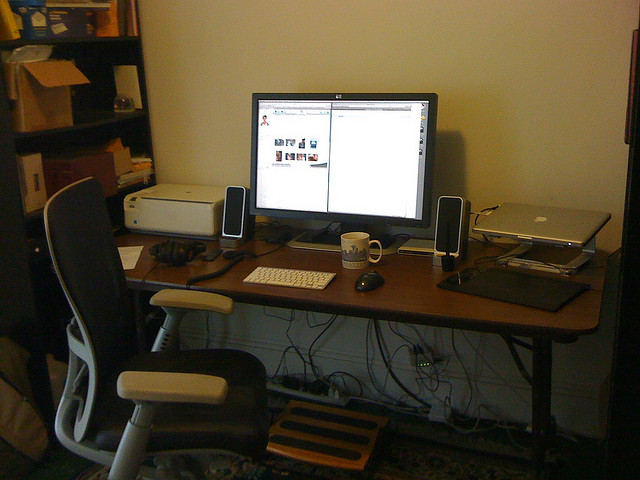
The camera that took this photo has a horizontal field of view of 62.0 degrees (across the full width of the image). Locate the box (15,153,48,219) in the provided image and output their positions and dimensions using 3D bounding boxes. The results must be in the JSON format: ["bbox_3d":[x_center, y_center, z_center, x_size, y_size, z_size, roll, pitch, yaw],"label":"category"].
[{"bbox_3d":[-1.168,-0.214,2.139,0.089,0.222,0.242,-17,16,-16],"label":"box"}]

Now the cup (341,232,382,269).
[{"bbox_3d":[0.153,0.038,2.122,0.177,0.124,0.113,2,13,12],"label":"cup"}]

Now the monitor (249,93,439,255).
[{"bbox_3d":[0.076,-0.306,2.284,0.877,0.659,0.264,6,17,28],"label":"monitor"}]

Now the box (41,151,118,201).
[{"bbox_3d":[-1.063,-0.321,2.376,0.298,0.176,0.297,-15,22,-38],"label":"box"}]

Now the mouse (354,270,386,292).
[{"bbox_3d":[0.180,0.149,1.918,0.072,0.039,0.131,17,29,38],"label":"mouse"}]

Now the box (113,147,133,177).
[{"bbox_3d":[-0.951,-0.372,2.550,0.081,0.099,0.139,-3,17,21],"label":"box"}]

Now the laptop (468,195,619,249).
[{"bbox_3d":[0.857,-0.052,2.096,0.535,0.139,0.477,11,25,27],"label":"laptop"}]
